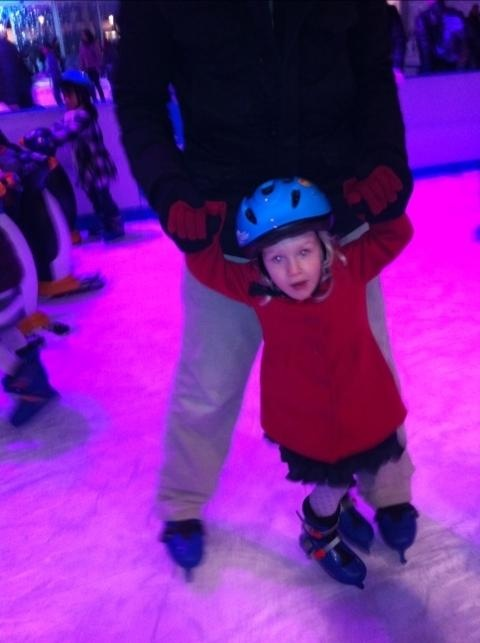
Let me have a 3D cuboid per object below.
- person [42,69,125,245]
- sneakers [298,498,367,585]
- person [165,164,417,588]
[{"bbox_3d":[-0.943,-0.955,3.007,0.357,1.153,0.435,-8,55,-8],"label":"person"},{"bbox_3d":[0.204,0.463,1.073,0.067,0.129,0.172,-29,39,-13],"label":"sneakers"},{"bbox_3d":[0.164,0.127,0.951,0.365,0.827,0.225,-11,21,8],"label":"person"}]
